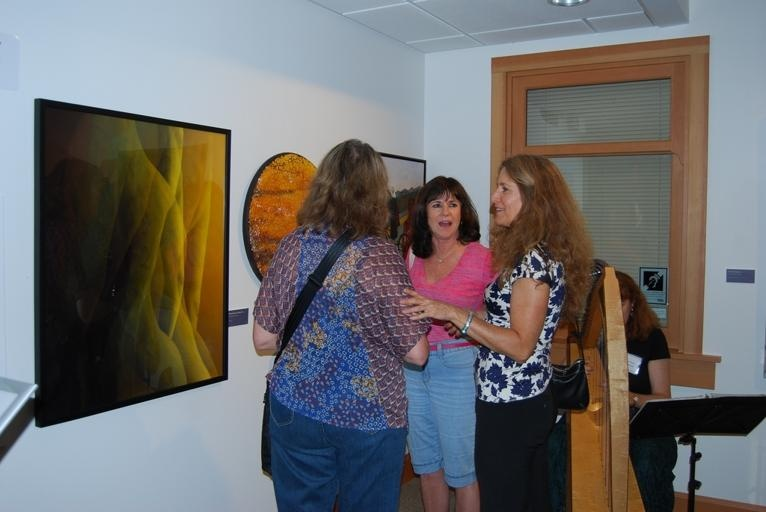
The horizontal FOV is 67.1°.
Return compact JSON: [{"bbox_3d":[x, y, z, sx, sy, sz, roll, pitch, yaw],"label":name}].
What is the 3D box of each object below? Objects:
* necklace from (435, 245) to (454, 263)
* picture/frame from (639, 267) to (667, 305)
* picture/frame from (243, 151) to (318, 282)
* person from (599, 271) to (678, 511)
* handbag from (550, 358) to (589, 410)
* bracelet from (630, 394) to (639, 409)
[{"bbox_3d":[0.380,-0.018,3.693,0.080,0.086,0.094,8,18,9],"label":"necklace"},{"bbox_3d":[2.094,0.215,4.486,0.194,0.284,0.137,1,9,23],"label":"picture/frame"},{"bbox_3d":[-0.627,-0.283,3.739,0.046,0.778,0.774,12,17,23],"label":"picture/frame"},{"bbox_3d":[1.615,0.812,3.526,0.353,1.412,0.554,2,-1,10],"label":"person"},{"bbox_3d":[0.992,0.685,3.039,0.116,0.266,0.255,-6,-12,-32],"label":"handbag"},{"bbox_3d":[1.535,0.885,3.518,0.080,0.066,0.034,3,-1,-19],"label":"bracelet"}]
